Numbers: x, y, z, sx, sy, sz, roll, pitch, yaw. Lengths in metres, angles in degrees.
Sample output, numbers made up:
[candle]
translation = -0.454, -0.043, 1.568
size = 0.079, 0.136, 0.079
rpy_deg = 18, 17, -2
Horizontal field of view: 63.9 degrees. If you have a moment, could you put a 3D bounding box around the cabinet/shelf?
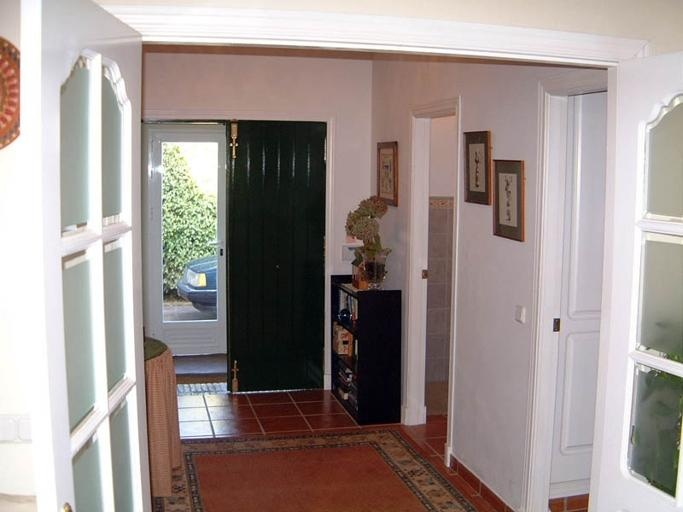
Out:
[cabinet/shelf]
translation = 0.262, 0.875, 5.109
size = 0.351, 1.150, 1.118
rpy_deg = -1, 12, -8
